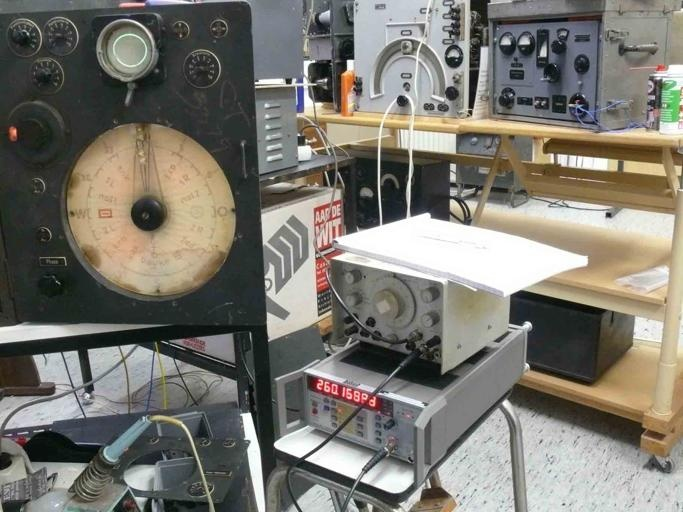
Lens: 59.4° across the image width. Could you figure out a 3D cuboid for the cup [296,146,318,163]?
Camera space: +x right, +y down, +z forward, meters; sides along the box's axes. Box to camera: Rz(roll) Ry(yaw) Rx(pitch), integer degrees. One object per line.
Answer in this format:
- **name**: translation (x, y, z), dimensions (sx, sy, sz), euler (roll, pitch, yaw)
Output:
- **cup**: translation (-0.135, -0.401, 2.361), dimensions (0.062, 0.084, 0.120), euler (2, 8, 17)
